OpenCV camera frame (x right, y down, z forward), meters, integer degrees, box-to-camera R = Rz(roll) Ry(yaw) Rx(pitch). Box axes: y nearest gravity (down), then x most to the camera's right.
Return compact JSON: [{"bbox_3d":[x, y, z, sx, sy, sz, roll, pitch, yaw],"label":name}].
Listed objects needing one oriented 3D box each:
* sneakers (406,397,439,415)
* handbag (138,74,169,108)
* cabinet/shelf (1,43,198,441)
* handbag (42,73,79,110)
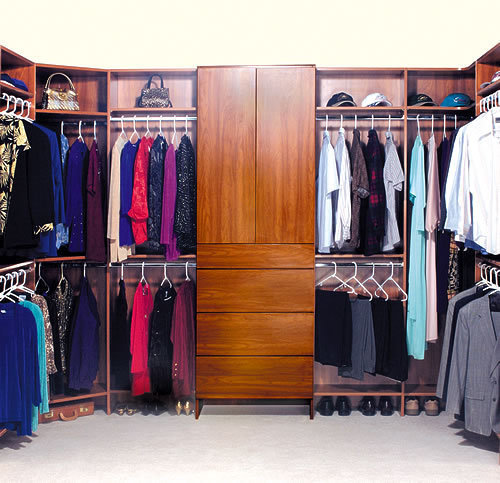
[{"bbox_3d":[1.216,1.172,3.824,0.113,0.076,0.178,0,-2,5],"label":"sneakers"},{"bbox_3d":[-0.704,-1.104,3.927,0.206,0.274,0.093,0,-5,-3],"label":"handbag"},{"bbox_3d":[-1.025,0.087,3.644,1.920,2.609,0.743,0,-4,-5],"label":"cabinet/shelf"},{"bbox_3d":[-1.364,-1.077,3.854,0.247,0.397,0.115,0,-6,-22],"label":"handbag"}]
